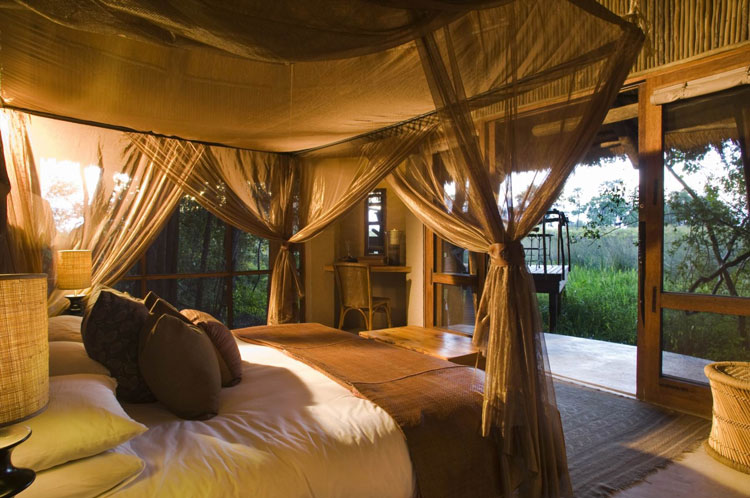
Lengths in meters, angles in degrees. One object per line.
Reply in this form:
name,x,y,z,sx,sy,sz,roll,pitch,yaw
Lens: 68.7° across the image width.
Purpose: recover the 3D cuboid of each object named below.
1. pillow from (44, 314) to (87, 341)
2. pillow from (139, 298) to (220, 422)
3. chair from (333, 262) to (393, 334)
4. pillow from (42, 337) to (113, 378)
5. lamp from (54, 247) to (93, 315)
pillow,-1.970,0.503,3.469,0.189,0.052,0.202,0,18,-30
pillow,-1.198,0.683,3.515,0.515,0.688,0.922,-3,1,-18
chair,-0.128,0.561,6.519,0.564,0.905,0.683,2,8,16
pillow,-1.608,0.598,2.998,0.263,0.066,0.241,10,3,-35
lamp,-2.429,0.274,4.461,0.254,0.542,0.266,6,7,42
